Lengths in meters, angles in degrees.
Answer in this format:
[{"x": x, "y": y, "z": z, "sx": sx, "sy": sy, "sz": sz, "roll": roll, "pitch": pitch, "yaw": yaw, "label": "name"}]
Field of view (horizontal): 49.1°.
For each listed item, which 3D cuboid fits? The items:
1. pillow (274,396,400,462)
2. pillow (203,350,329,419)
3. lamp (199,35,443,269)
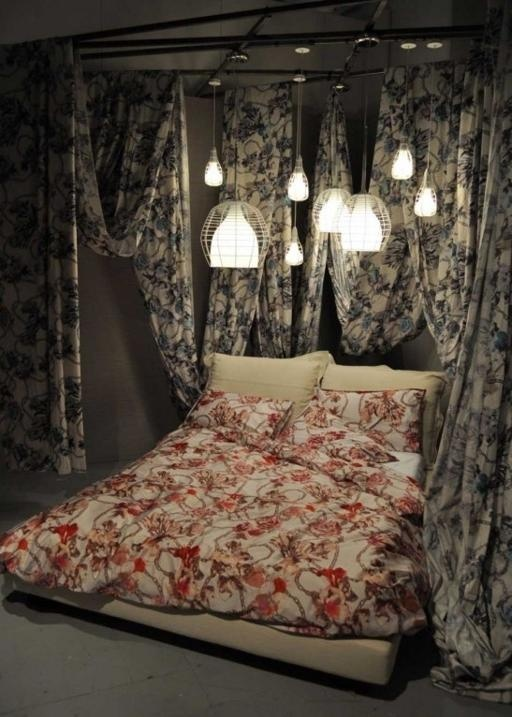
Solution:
[{"x": 0.421, "y": 0.407, "z": 2.986, "sx": 0.225, "sy": 0.080, "sz": 0.527, "roll": -38, "pitch": 32, "yaw": -21, "label": "pillow"}, {"x": 0.058, "y": 0.135, "z": 3.617, "sx": 0.516, "sy": 0.446, "sz": 0.169, "roll": 3, "pitch": -25, "yaw": 17, "label": "pillow"}, {"x": 0.403, "y": -1.276, "z": 3.440, "sx": 1.734, "sy": 1.647, "sz": 0.472, "roll": -1, "pitch": -10, "yaw": 0, "label": "lamp"}]
